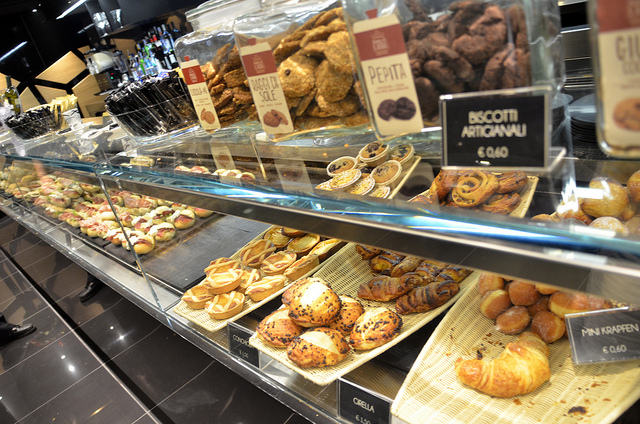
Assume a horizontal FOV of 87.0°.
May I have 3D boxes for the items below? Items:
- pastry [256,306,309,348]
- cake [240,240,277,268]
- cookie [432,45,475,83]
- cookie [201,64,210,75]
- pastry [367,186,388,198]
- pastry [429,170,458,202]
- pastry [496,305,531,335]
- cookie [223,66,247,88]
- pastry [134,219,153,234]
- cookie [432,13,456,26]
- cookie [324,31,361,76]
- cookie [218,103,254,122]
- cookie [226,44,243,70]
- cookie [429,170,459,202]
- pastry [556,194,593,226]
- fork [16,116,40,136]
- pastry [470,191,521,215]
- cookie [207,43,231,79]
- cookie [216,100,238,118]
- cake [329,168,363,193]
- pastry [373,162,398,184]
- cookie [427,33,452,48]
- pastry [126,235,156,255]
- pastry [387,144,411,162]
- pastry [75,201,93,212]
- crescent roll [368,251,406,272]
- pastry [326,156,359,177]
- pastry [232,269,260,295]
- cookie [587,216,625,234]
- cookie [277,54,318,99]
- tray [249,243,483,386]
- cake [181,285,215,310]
[{"bbox_3d":[-0.134,0.370,1.126,0.142,0.043,0.146,-4,21,1],"label":"pastry"},{"bbox_3d":[-0.269,0.176,1.440,0.132,0.040,0.121,-35,24,-9],"label":"cake"},{"bbox_3d":[0.254,-0.283,0.646,0.022,0.087,0.048,-47,-7,-44],"label":"cookie"},{"bbox_3d":[-0.390,-0.476,1.136,0.033,0.027,0.008,-9,-17,30],"label":"cookie"},{"bbox_3d":[0.128,-0.043,0.724,0.030,0.008,0.027,5,35,26],"label":"pastry"},{"bbox_3d":[0.259,-0.047,0.690,0.067,0.019,0.046,-55,39,-7],"label":"pastry"},{"bbox_3d":[0.512,0.278,0.874,0.097,0.050,0.086,-31,7,37],"label":"pastry"},{"bbox_3d":[-0.269,-0.426,1.073,0.086,0.051,0.021,-18,-3,8],"label":"cookie"},{"bbox_3d":[-0.834,0.069,1.599,0.075,0.064,0.021,19,-10,12],"label":"pastry"},{"bbox_3d":[0.233,-0.363,0.640,0.027,0.007,0.025,-25,12,4],"label":"cookie"},{"bbox_3d":[0.048,-0.366,0.780,0.117,0.118,0.014,-15,2,-22],"label":"cookie"},{"bbox_3d":[-0.299,-0.331,1.135,0.064,0.014,0.061,-18,12,30],"label":"cookie"},{"bbox_3d":[-0.275,-0.482,1.063,0.057,0.068,0.027,-2,37,22],"label":"cookie"},{"bbox_3d":[0.259,-0.047,0.693,0.048,0.020,0.069,17,70,48],"label":"cookie"},{"bbox_3d":[0.431,-0.004,0.573,0.051,0.016,0.052,-43,38,-16],"label":"pastry"},{"bbox_3d":[-2.120,-0.608,2.429,0.072,0.151,0.036,-4,37,21],"label":"fork"},{"bbox_3d":[0.332,-0.015,0.616,0.054,0.018,0.062,-14,14,26],"label":"pastry"},{"bbox_3d":[-0.331,-0.485,1.099,0.102,0.024,0.063,-55,15,-5],"label":"cookie"},{"bbox_3d":[-0.315,-0.346,1.146,0.072,0.020,0.037,-16,44,24],"label":"cookie"},{"bbox_3d":[0.058,-0.072,0.770,0.081,0.025,0.063,-32,35,-30],"label":"cake"},{"bbox_3d":[0.147,-0.087,0.756,0.049,0.019,0.065,13,39,38],"label":"pastry"},{"bbox_3d":[0.224,-0.317,0.631,0.035,0.010,0.032,0,26,-39],"label":"cookie"},{"bbox_3d":[-0.831,0.144,1.557,0.115,0.048,0.090,8,18,39],"label":"pastry"},{"bbox_3d":[0.183,-0.137,0.782,0.048,0.023,0.044,-34,36,-30],"label":"pastry"},{"bbox_3d":[-1.694,-0.038,2.435,0.101,0.035,0.075,-40,38,-13],"label":"pastry"},{"bbox_3d":[0.223,0.171,1.168,0.110,0.036,0.079,-23,13,33],"label":"crescent roll"},{"bbox_3d":[0.054,-0.112,0.816,0.079,0.018,0.072,-10,30,5],"label":"pastry"},{"bbox_3d":[-0.296,0.279,1.389,0.102,0.031,0.098,-33,24,-9],"label":"pastry"},{"bbox_3d":[0.467,0.016,0.541,0.053,0.011,0.044,-34,36,-32],"label":"cookie"},{"bbox_3d":[-0.058,-0.337,0.865,0.108,0.098,0.033,-41,-9,21],"label":"cookie"},{"bbox_3d":[0.147,0.310,1.085,0.678,0.079,0.404,-26,32,-33],"label":"tray"},{"bbox_3d":[-0.498,0.348,1.400,0.131,0.039,0.121,-11,25,-30],"label":"cake"}]
